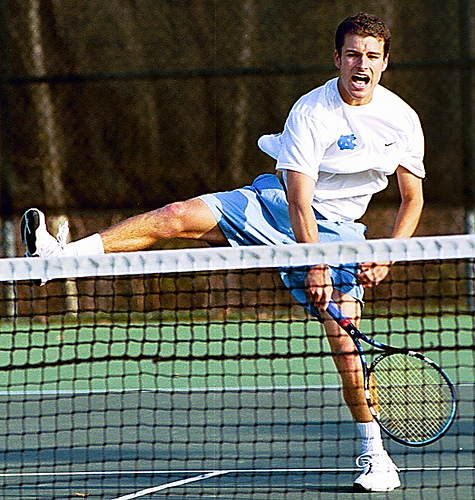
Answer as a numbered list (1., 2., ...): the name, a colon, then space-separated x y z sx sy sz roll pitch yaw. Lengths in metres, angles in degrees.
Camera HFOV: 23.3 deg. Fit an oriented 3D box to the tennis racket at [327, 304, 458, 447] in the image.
1. tennis racket: 0.765 0.629 5.685 0.545 0.796 0.591 -8 6 3
